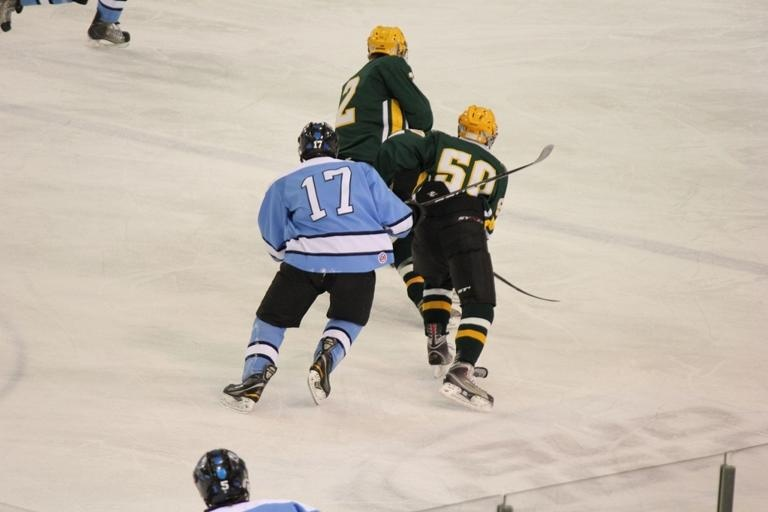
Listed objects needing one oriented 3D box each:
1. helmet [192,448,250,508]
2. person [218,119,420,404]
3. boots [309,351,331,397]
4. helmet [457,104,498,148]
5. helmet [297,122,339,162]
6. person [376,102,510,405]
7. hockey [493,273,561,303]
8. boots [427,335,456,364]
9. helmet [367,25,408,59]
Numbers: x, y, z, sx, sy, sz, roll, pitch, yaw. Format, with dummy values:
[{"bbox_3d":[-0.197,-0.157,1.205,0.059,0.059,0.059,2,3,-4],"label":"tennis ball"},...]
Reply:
[{"bbox_3d":[-0.902,1.220,8.755,0.326,0.307,0.354,-15,6,-6],"label":"helmet"},{"bbox_3d":[-0.413,0.082,10.028,0.963,1.837,0.756,9,16,2],"label":"person"},{"bbox_3d":[-0.422,0.789,9.989,0.147,0.363,0.188,9,15,-2],"label":"boots"},{"bbox_3d":[0.647,-0.899,10.551,0.288,0.272,0.321,19,13,13],"label":"helmet"},{"bbox_3d":[-0.418,-0.764,10.170,0.264,0.252,0.266,1,23,-2],"label":"helmet"},{"bbox_3d":[-0.312,0.035,10.327,1.442,1.854,0.973,0,-4,28],"label":"person"},{"bbox_3d":[1.019,0.235,11.072,0.935,0.033,0.136,8,50,15],"label":"hockey"},{"bbox_3d":[0.389,0.635,10.441,0.194,0.214,0.201,6,14,-7],"label":"boots"},{"bbox_3d":[0.024,-1.568,11.201,0.270,0.218,0.266,4,18,8],"label":"helmet"}]
